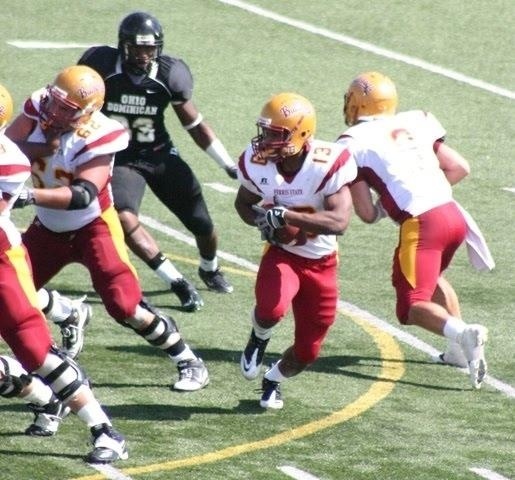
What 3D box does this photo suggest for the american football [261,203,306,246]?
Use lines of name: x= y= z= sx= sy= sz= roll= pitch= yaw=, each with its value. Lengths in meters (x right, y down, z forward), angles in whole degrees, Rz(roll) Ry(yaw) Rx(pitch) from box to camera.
american football: x=0.116 y=-0.083 z=3.846 sx=0.259 sy=0.119 sz=0.173 roll=26 pitch=-7 yaw=-20

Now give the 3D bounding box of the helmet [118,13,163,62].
helmet: x=-0.787 y=-1.304 z=4.980 sx=0.336 sy=0.275 sz=0.328 roll=-4 pitch=49 yaw=-13

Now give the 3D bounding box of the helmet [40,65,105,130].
helmet: x=-0.917 y=-0.699 z=3.774 sx=0.282 sy=0.297 sz=0.323 roll=10 pitch=24 yaw=-14

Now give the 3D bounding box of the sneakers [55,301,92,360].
sneakers: x=-1.118 y=0.519 z=4.433 sx=0.160 sy=0.333 sz=0.188 roll=-1 pitch=-9 yaw=32
